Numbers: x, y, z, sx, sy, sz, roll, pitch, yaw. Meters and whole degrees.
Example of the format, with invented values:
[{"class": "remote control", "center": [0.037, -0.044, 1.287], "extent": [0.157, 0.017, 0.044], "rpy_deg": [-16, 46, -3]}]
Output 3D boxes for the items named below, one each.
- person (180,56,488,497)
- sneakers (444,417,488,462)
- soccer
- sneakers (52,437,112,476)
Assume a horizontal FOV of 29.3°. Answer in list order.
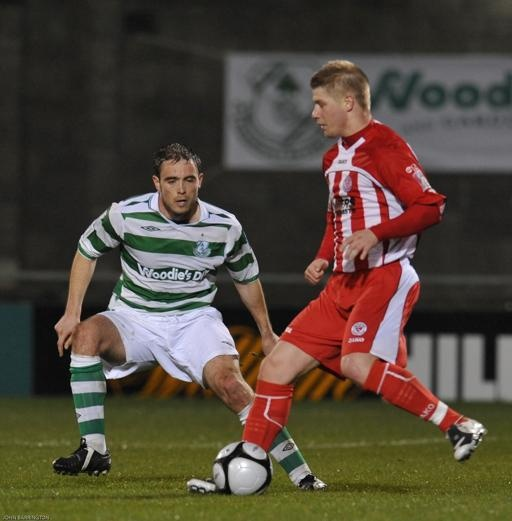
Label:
[{"class": "person", "center": [0.566, 0.000, 4.641], "extent": [0.985, 1.936, 0.640], "rpy_deg": [6, 4, 22]}, {"class": "sneakers", "center": [0.958, 0.830, 4.455], "extent": [0.153, 0.211, 0.150], "rpy_deg": [3, 4, -20]}, {"class": "soccer", "center": [-0.042, 0.954, 4.625], "extent": [0.274, 0.226, 0.238], "rpy_deg": [6, 13, 8]}, {"class": "sneakers", "center": [-0.866, 0.985, 4.864], "extent": [0.326, 0.169, 0.115], "rpy_deg": [8, -12, -44]}]
